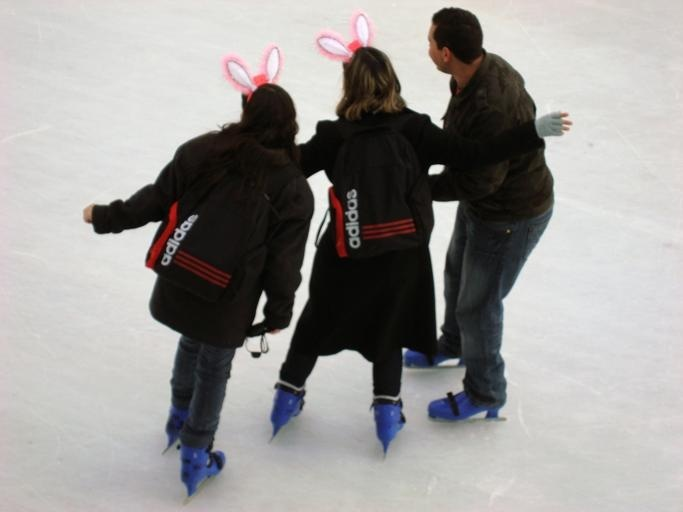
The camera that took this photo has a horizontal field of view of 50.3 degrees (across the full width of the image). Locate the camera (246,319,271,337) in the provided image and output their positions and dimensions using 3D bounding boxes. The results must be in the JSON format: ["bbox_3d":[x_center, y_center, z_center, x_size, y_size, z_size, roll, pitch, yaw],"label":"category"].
[{"bbox_3d":[-0.403,0.360,3.560,0.160,0.062,0.055,-6,32,-4],"label":"camera"}]

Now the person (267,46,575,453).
[{"bbox_3d":[0.238,0.027,3.779,1.276,2.120,0.329,2,19,8],"label":"person"}]

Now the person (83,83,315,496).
[{"bbox_3d":[-0.609,0.200,3.619,0.948,2.029,0.413,-5,19,-12],"label":"person"}]
